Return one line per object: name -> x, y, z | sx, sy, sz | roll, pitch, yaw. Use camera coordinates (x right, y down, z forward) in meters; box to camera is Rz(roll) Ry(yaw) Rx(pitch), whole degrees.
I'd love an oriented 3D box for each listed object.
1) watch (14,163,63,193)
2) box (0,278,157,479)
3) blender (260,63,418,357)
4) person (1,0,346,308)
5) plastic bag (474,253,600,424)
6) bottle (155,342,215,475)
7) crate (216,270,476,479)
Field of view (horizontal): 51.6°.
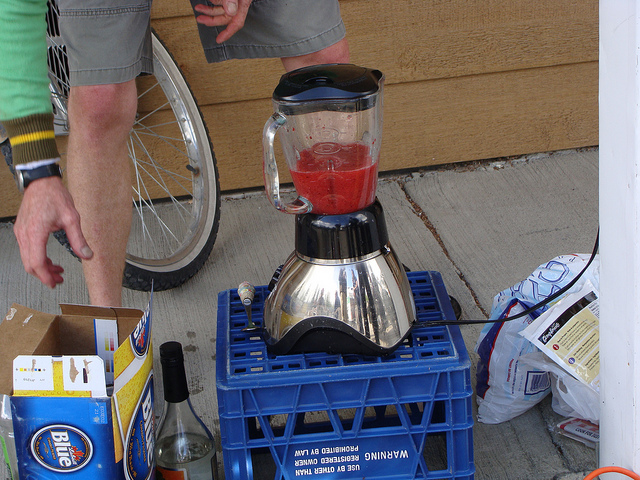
watch -> -0.520, -0.123, 1.239 | 0.072, 0.079, 0.047 | -13, 22, -29
box -> -0.431, 0.263, 1.208 | 0.241, 0.438, 0.241 | 3, 26, 0
blender -> 0.041, -0.040, 1.328 | 0.275, 0.544, 0.293 | -4, 15, 14
person -> -0.361, -0.249, 1.540 | 0.378, 0.666, 0.856 | 13, 32, 34
plastic bag -> 0.495, 0.208, 1.567 | 0.316, 0.429, 0.170 | -29, 47, -32
bottle -> -0.270, 0.333, 1.261 | 0.115, 0.281, 0.090 | -13, 26, -14
crate -> 0.062, 0.293, 1.319 | 0.416, 0.314, 0.444 | -2, 14, 7
